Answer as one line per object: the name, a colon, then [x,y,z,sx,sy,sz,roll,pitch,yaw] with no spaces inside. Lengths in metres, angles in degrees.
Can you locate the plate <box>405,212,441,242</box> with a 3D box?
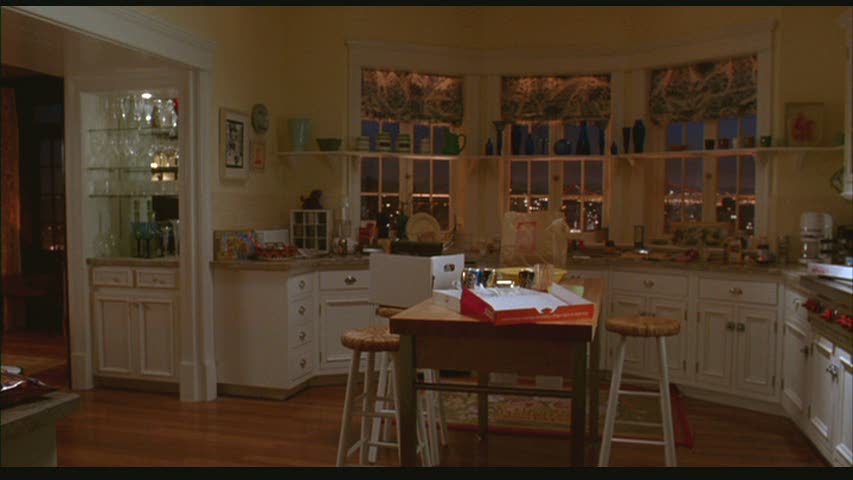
plate: [-0.036,-0.128,5.761,0.299,0.246,0.591,-1,4,-2]

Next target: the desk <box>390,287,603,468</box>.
desk: [0.649,1.164,5.041,1.500,0.958,1.819,0,-8,13]

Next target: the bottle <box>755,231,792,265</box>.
bottle: [3.708,0.097,6.540,0.412,0.299,0.248,-5,7,-43]

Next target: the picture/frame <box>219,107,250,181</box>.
picture/frame: [-2.062,-1.034,6.558,0.069,0.723,0.435,1,6,23]

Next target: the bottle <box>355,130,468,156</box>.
bottle: [-0.199,-1.191,7.442,1.350,0.345,0.384,-1,5,-6]

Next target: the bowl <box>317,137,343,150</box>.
bowl: [-1.134,-1.121,7.141,0.239,0.104,0.165,-2,-2,7]

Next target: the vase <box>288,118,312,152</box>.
vase: [-1.459,-1.251,7.341,0.384,0.472,0.387,-1,6,-12]

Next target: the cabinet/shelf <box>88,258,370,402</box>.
cabinet/shelf: [-2.121,0.878,6.637,2.024,1.076,1.912,-1,-1,17]
